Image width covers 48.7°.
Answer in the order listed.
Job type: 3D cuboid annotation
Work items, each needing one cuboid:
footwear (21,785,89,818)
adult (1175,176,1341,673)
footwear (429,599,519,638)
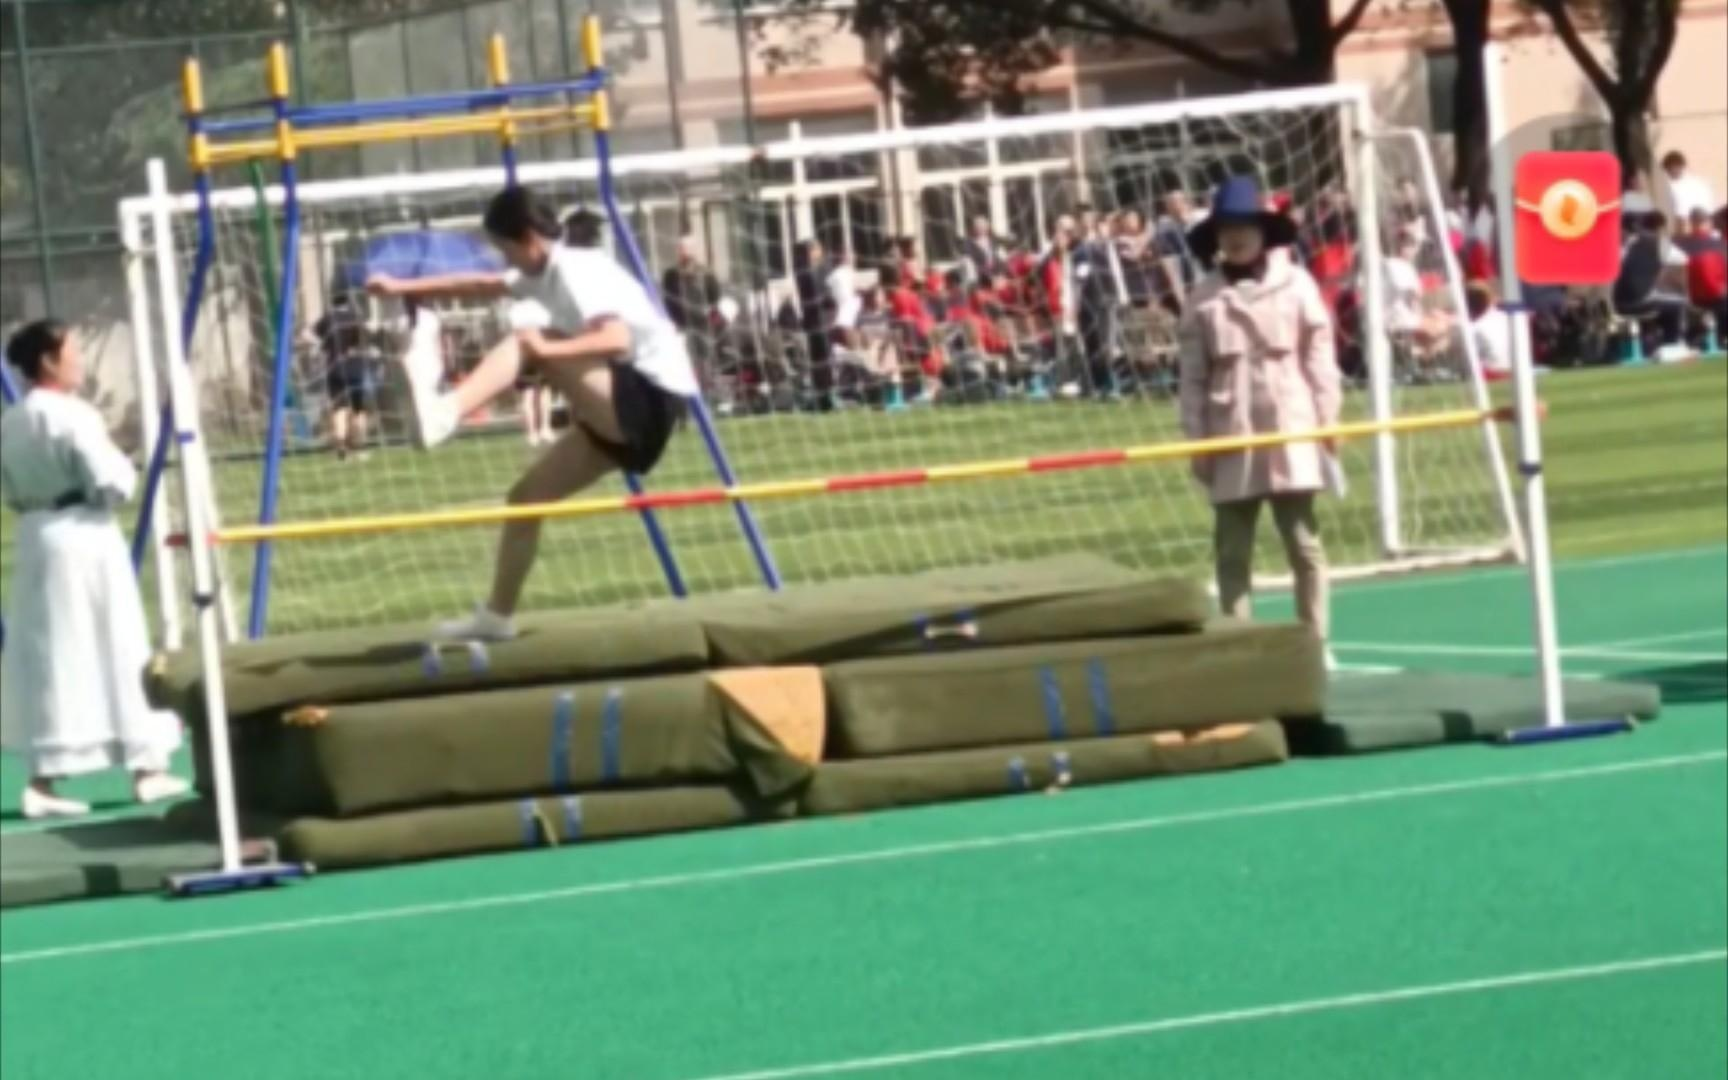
[{"bbox_3d":[-4.257,1.386,10.198,0.447,0.203,0.159,0,-1,-1],"label":"footwear"},{"bbox_3d":[2.212,-0.590,10.697,0.831,2.795,0.804,-1,0,13],"label":"adult"},{"bbox_3d":[-1.876,0.402,9.156,0.388,0.111,0.456,-5,9,-10],"label":"footwear"}]
